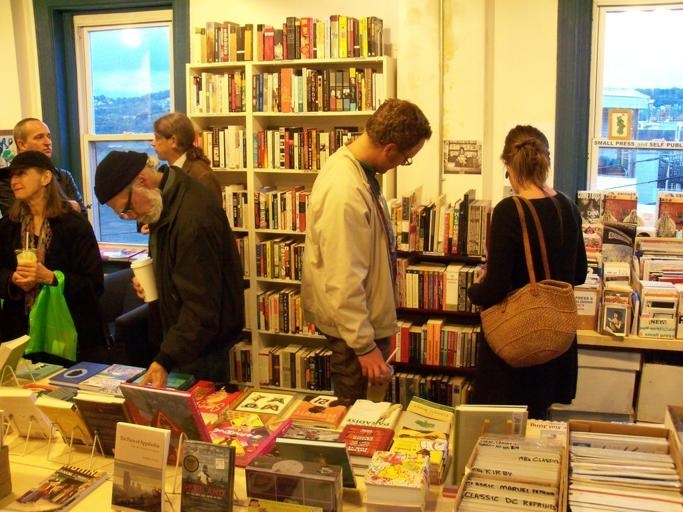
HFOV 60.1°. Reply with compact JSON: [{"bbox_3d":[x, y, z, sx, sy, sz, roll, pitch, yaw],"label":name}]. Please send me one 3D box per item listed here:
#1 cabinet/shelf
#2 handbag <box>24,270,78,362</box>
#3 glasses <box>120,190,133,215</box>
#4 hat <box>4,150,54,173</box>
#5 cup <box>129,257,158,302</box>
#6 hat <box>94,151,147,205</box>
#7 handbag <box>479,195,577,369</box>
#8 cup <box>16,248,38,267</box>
[{"bbox_3d":[0.060,-0.227,3.736,2.493,2.459,0.765,2,8,17],"label":"cabinet/shelf"},{"bbox_3d":[-1.604,0.336,3.275,0.268,0.507,0.178,-3,9,-10],"label":"handbag"},{"bbox_3d":[-0.950,-0.236,2.626,0.083,0.088,0.025,4,6,41],"label":"glasses"},{"bbox_3d":[-1.770,-0.512,3.337,0.201,0.118,0.145,9,-6,-26],"label":"hat"},{"bbox_3d":[-0.914,0.122,2.743,0.104,0.229,0.151,-4,9,-21],"label":"cup"},{"bbox_3d":[-0.975,-0.350,2.625,0.224,0.228,0.148,-4,9,-18],"label":"hat"},{"bbox_3d":[0.894,0.144,2.802,0.431,0.846,0.149,1,9,12],"label":"handbag"},{"bbox_3d":[-1.685,0.003,3.151,0.114,0.077,0.089,-2,9,-5],"label":"cup"}]
